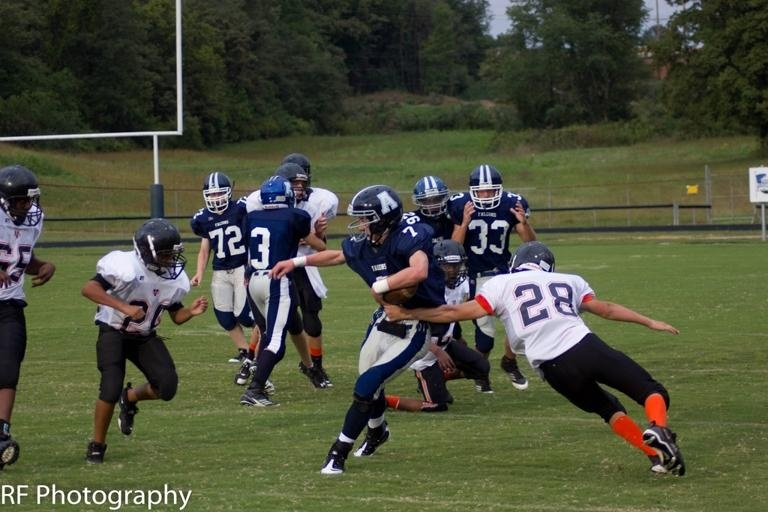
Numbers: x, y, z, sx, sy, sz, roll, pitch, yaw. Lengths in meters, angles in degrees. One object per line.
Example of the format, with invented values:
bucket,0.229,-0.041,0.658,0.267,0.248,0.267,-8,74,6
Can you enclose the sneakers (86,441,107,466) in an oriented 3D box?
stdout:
sneakers,-5.440,3.715,27.033,0.352,0.419,0.181,-1,6,-12
